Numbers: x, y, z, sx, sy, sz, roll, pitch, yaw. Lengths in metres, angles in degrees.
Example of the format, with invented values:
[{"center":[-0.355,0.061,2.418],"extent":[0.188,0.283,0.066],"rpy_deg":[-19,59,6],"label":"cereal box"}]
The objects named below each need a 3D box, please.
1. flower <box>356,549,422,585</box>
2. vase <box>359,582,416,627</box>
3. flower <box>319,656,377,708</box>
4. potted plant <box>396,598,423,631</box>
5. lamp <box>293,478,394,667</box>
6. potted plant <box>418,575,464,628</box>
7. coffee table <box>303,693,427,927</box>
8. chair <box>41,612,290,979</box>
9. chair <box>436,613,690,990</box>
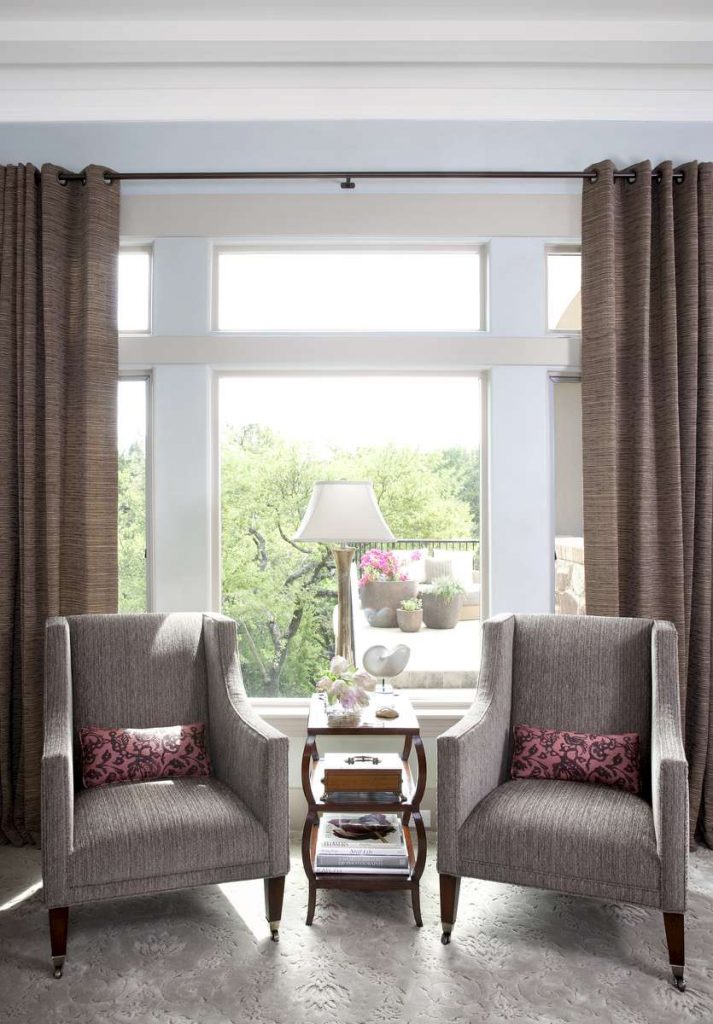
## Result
[{"center":[0.148,0.220,3.779],"extent":[0.194,0.105,0.144],"rpy_deg":[-5,9,-34],"label":"flower"},{"center":[0.138,0.372,3.798],"extent":[0.201,0.156,0.200],"rpy_deg":[-1,-3,17],"label":"vase"},{"center":[-0.026,0.550,2.940],"extent":[0.123,0.090,0.159],"rpy_deg":[0,3,1],"label":"flower"},{"center":[0.225,0.430,3.851],"extent":[0.128,0.154,0.117],"rpy_deg":[0,-1,-2],"label":"potted plant"},{"center":[-0.035,0.216,3.308],"extent":[0.331,0.656,0.512],"rpy_deg":[0,3,1],"label":"lamp"},{"center":[0.352,0.381,3.892],"extent":[0.193,0.207,0.189],"rpy_deg":[0,-6,-2],"label":"potted plant"},{"center":[0.019,0.936,3.028],"extent":[0.474,0.726,0.587],"rpy_deg":[-1,-7,1],"label":"coffee table"},{"center":[-0.616,0.798,2.861],"extent":[0.666,0.883,0.740],"rpy_deg":[-1,3,-18],"label":"chair"},{"center":[0.669,0.788,2.805],"extent":[0.775,0.886,0.735],"rpy_deg":[-1,-3,35],"label":"chair"}]
